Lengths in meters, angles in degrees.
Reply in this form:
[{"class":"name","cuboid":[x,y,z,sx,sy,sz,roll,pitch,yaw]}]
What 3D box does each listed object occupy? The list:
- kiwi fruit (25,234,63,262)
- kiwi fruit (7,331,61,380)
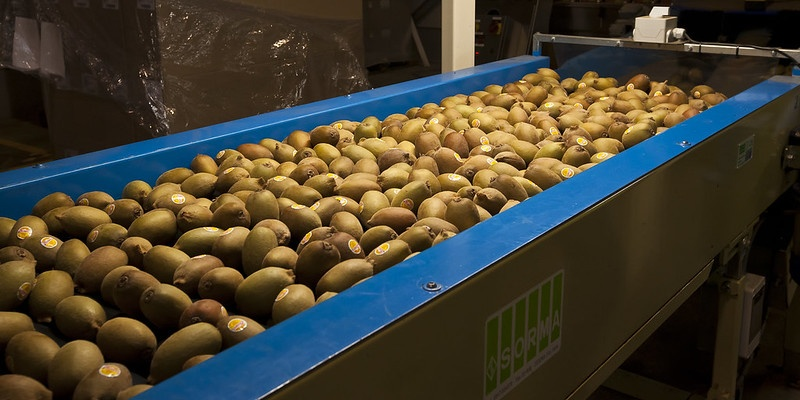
[{"class":"kiwi fruit","cuboid":[-1.388,0.197,1.887,0.120,0.081,0.084,-9,31,-23]},{"class":"kiwi fruit","cuboid":[-1.242,0.523,1.637,0.191,0.109,0.109,11,30,13]}]
